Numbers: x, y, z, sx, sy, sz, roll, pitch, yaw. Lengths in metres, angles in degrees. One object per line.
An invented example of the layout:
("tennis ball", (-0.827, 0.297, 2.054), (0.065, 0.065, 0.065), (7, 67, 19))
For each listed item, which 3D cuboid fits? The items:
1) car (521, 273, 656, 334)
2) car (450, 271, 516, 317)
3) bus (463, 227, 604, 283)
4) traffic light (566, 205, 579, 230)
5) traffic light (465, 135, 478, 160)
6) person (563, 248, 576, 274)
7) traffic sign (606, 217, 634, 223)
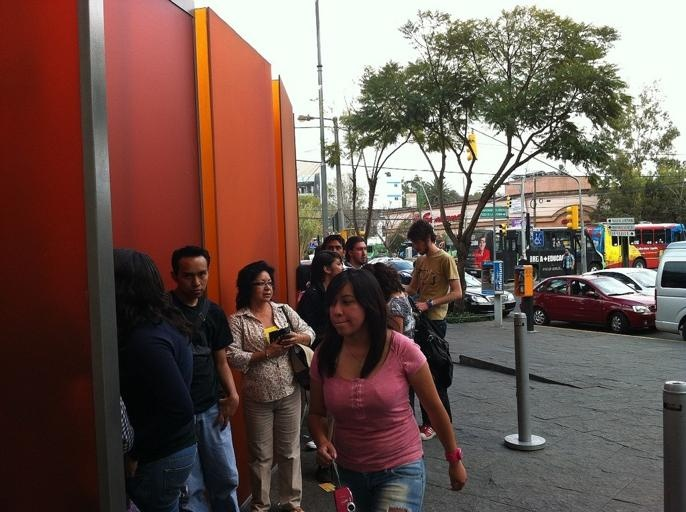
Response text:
("car", (7.687, 1.437, 16.767), (1.528, 1.284, 3.162), (1, -5, -35))
("car", (5.498, 1.548, 22.377), (1.854, 1.792, 4.978), (-3, -3, -5))
("bus", (13.747, -0.239, 36.793), (7.655, 3.695, 2.782), (0, 2, -1))
("traffic light", (10.772, -1.848, 25.657), (0.472, 1.122, 0.826), (0, 6, 16))
("traffic light", (4.655, -3.973, 19.760), (0.285, 0.996, 1.005), (0, 6, 13))
("person", (13.916, 0.452, 33.855), (0.538, 1.432, 1.931), (2, 7, 28))
("traffic sign", (20.627, -2.626, 40.650), (2.313, 0.458, 0.819), (-5, 8, -29))
